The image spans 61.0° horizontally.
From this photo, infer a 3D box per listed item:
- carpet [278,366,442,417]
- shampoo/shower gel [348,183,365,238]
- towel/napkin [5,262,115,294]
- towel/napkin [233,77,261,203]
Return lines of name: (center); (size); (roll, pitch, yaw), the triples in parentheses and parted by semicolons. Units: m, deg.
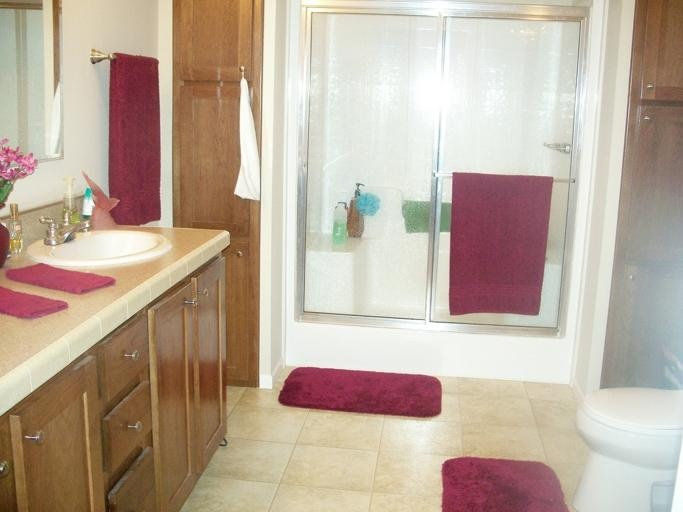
carpet: (0.132, 0.763, 3.257); (0.581, 0.067, 0.344); (2, 17, 7)
shampoo/shower gel: (0.085, -0.264, 3.429); (0.095, 0.325, 0.040); (0, 14, 0)
towel/napkin: (-0.873, 0.067, 1.782); (0.231, 0.028, 0.135); (11, 17, 23)
towel/napkin: (-0.501, -0.614, 3.066); (0.145, 0.649, 0.143); (-2, 14, -9)
